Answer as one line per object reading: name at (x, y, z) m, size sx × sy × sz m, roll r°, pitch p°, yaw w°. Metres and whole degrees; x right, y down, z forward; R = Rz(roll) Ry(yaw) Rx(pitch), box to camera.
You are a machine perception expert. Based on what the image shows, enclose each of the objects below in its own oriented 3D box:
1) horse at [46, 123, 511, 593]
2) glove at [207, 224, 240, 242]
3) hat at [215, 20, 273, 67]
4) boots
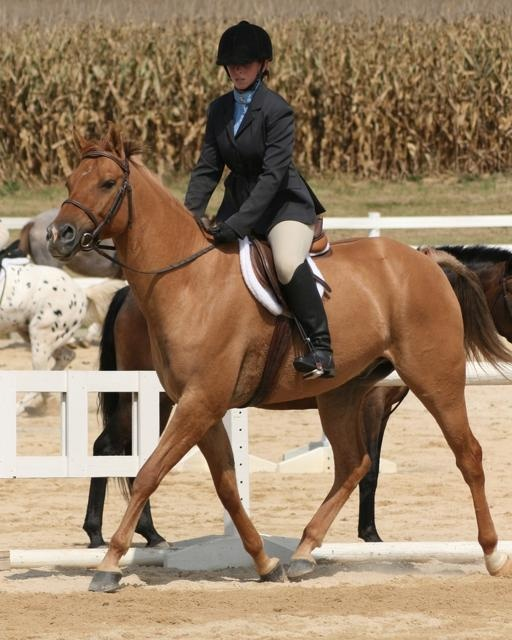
horse at (0.155, 0.231, 6.751) m, size 2.407 × 2.252 × 1.064 m, roll -1°, pitch 21°, yaw -13°
glove at (-0.163, -0.440, 6.595) m, size 0.159 × 0.124 × 0.098 m, roll 4°, pitch 21°, yaw -2°
hat at (-0.078, -1.443, 6.759) m, size 0.268 × 0.249 × 0.366 m, roll 4°, pitch 10°, yaw 32°
boots at (0.253, 0.006, 6.598) m, size 0.252 × 0.534 × 0.424 m, roll 0°, pitch 22°, yaw -10°
